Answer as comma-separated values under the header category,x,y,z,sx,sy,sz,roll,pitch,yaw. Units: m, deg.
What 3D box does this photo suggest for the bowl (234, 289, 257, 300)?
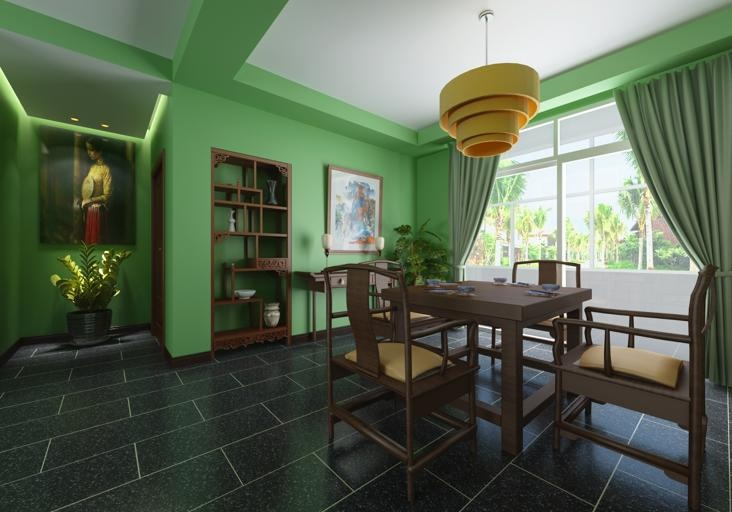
category,x,y,z,sx,sy,sz,roll,pitch,yaw
bowl,-1.531,0.477,5.845,0.233,0.106,0.334,-1,2,-19

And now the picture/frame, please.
category,x,y,z,sx,sy,sz,roll,pitch,yaw
picture/frame,-0.200,-0.677,6.763,1.253,1.453,0.059,2,-3,-42

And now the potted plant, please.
category,x,y,z,sx,sy,sz,roll,pitch,yaw
potted plant,-3.627,0.484,6.206,0.863,1.320,0.622,-1,2,-14

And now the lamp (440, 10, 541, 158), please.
category,x,y,z,sx,sy,sz,roll,pitch,yaw
lamp,1.206,-1.766,4.592,0.877,1.457,0.888,0,-9,-2

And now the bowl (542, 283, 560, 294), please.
category,x,y,z,sx,sy,sz,roll,pitch,yaw
bowl,1.764,0.312,4.458,0.108,0.051,0.111,1,0,0
